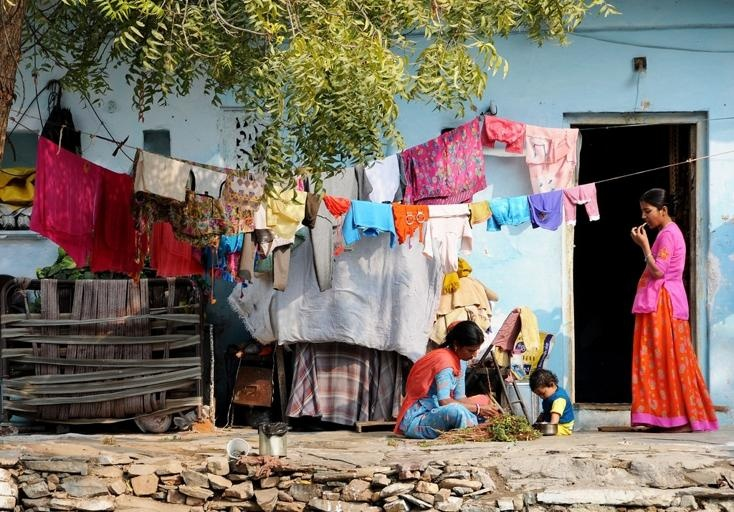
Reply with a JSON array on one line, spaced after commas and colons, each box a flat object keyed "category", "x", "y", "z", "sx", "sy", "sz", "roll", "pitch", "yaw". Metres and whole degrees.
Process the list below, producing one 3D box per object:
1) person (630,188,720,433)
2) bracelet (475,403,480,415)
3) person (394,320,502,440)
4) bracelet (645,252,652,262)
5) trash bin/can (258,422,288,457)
[{"category": "person", "x": 3.136, "y": 0.563, "z": 10.260, "sx": 0.765, "sy": 2.473, "sz": 0.508, "roll": 0, "pitch": -7, "yaw": 17}, {"category": "bracelet", "x": 1.147, "y": 1.592, "z": 10.165, "sx": 0.035, "sy": 0.083, "sz": 0.060, "roll": -1, "pitch": 13, "yaw": 7}, {"category": "person", "x": 0.819, "y": 1.302, "z": 10.281, "sx": 1.009, "sy": 1.201, "sz": 0.528, "roll": -3, "pitch": -8, "yaw": 35}, {"category": "bracelet", "x": 2.925, "y": 0.033, "z": 10.277, "sx": 0.063, "sy": 0.066, "sz": 0.067, "roll": 3, "pitch": -3, "yaw": 10}, {"category": "trash bin/can", "x": -0.864, "y": 1.686, "z": 9.120, "sx": 0.262, "sy": 0.312, "sz": 0.283, "roll": 3, "pitch": -11, "yaw": -16}]
